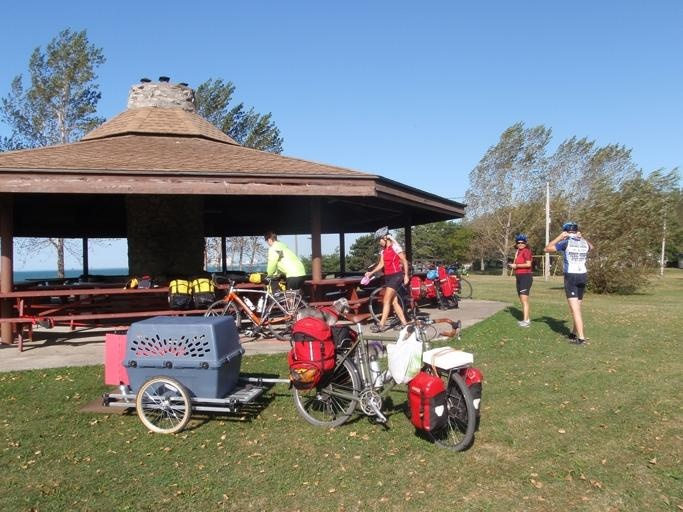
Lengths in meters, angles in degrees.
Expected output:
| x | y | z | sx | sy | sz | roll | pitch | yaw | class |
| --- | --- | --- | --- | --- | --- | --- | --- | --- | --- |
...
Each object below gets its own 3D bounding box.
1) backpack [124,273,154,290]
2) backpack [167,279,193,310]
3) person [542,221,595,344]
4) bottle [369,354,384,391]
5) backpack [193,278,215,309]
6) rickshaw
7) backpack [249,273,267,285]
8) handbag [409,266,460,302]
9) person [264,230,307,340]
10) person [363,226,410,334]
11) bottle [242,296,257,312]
| x | y | z | sx | sy | sz | roll | pitch | yaw | class |
| --- | --- | --- | --- | --- | --- | --- | --- | --- | --- |
| -4.488 | 0.623 | 12.075 | 0.449 | 0.247 | 0.449 | -6 | 2 | -6 | backpack |
| -3.480 | 0.814 | 11.865 | 0.468 | 0.608 | 0.646 | 0 | 6 | -4 | backpack |
| 4.651 | 0.595 | 11.105 | 0.860 | 2.592 | 1.097 | 0 | 0 | -44 | person |
| 0.459 | 1.546 | 7.213 | 0.146 | 0.445 | 0.175 | -4 | -10 | 3 | bottle |
| -3.061 | 0.791 | 11.933 | 0.487 | 0.619 | 0.642 | 2 | -12 | -23 | backpack |
| -2.408 | 2.095 | 7.817 | 2.130 | 0.697 | 1.452 | 2 | -13 | -9 | rickshaw |
| -1.889 | 0.516 | 12.208 | 0.261 | 0.168 | 0.362 | 2 | -2 | -42 | backpack |
| 2.669 | 0.841 | 15.743 | 1.167 | 1.014 | 0.880 | -2 | 4 | -43 | handbag |
| -1.227 | 0.487 | 11.457 | 0.950 | 1.849 | 0.685 | 0 | 0 | 18 | person |
| 1.025 | 0.500 | 11.779 | 0.992 | 2.292 | 0.659 | 0 | 0 | -33 | person |
| -2.000 | 1.035 | 11.790 | 0.232 | 0.287 | 0.503 | -4 | 0 | -16 | bottle |
